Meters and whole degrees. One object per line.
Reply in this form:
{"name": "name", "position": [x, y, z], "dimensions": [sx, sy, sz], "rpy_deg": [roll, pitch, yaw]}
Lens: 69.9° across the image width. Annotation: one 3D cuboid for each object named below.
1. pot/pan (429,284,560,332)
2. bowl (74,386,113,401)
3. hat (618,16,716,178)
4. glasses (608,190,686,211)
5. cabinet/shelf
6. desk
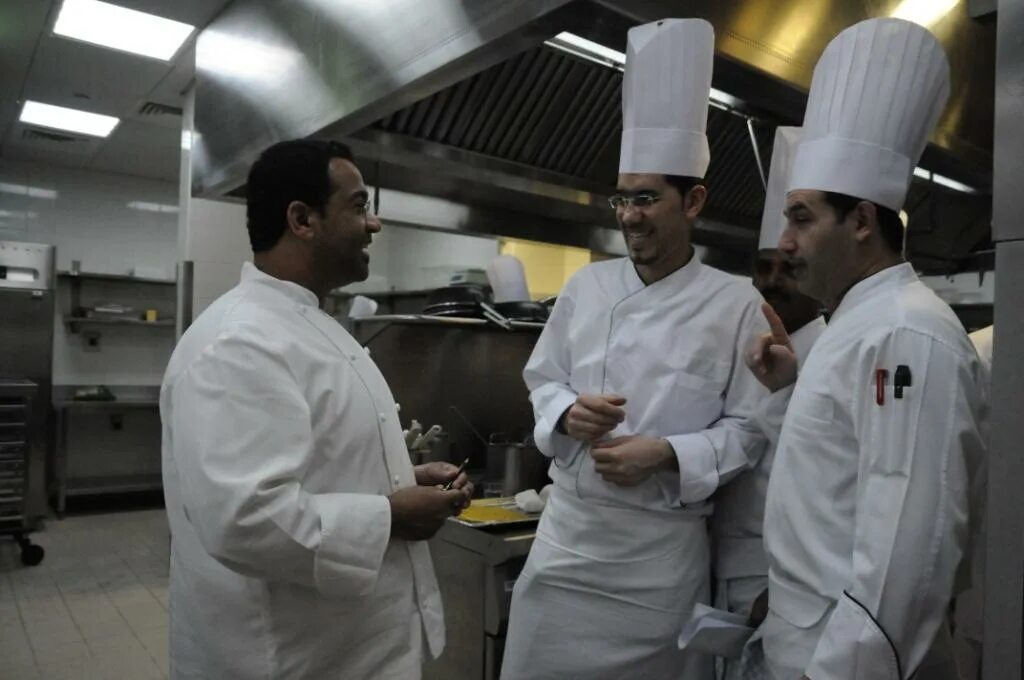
{"name": "pot/pan", "position": [-0.128, -0.153, 3.654], "dimensions": [0.348, 0.105, 0.346], "rpy_deg": [3, -8, -22]}
{"name": "bowl", "position": [-3.596, 0.455, 6.268], "dimensions": [0.294, 0.124, 0.359], "rpy_deg": [4, -4, -31]}
{"name": "hat", "position": [0.471, -0.728, 2.248], "dimensions": [0.278, 0.498, 0.180], "rpy_deg": [1, -3, 13]}
{"name": "glasses", "position": [0.357, -0.414, 2.169], "dimensions": [0.172, 0.062, 0.054], "rpy_deg": [-1, -4, 32]}
{"name": "cabinet/shelf", "position": [-3.523, -0.321, 6.578], "dimensions": [0.373, 0.719, 1.462], "rpy_deg": [-5, -1, 22]}
{"name": "desk", "position": [-3.603, 0.972, 6.392], "dimensions": [1.155, 0.890, 0.452], "rpy_deg": [4, -12, -32]}
